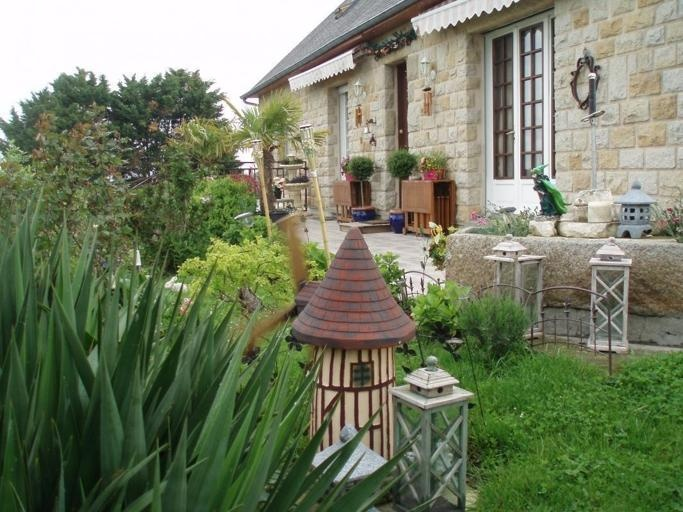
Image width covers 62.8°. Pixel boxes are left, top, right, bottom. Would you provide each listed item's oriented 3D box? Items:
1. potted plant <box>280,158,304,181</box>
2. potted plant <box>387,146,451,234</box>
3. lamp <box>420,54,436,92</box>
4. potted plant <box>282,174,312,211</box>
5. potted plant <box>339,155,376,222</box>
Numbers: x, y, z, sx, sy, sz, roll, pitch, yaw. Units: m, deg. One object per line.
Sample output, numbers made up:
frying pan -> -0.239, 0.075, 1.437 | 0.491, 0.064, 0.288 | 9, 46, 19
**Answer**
potted plant -> -1.502, -2.714, 17.169 | 0.728, 0.661, 0.770 | -1, 2, 0
potted plant -> 1.617, -1.373, 11.466 | 0.815, 2.052, 1.736 | -6, 9, -27
lamp -> 1.772, -3.732, 11.332 | 0.339, 0.755, 0.197 | 16, 36, 30
potted plant -> -1.240, -1.950, 16.865 | 0.956, 1.197, 1.030 | -2, 3, -9
potted plant -> 0.371, -1.709, 13.772 | 0.628, 1.485, 1.085 | -5, 5, -39
